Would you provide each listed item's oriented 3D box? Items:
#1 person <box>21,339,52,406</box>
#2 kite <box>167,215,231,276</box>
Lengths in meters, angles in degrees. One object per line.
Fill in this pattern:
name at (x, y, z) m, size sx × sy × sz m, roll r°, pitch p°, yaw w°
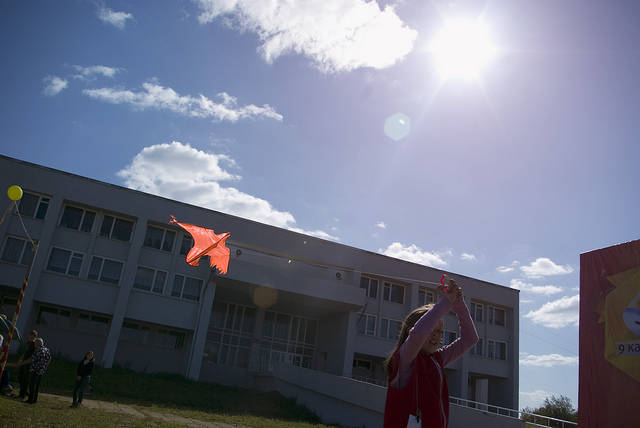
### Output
person at (-10.129, 5.561, 14.493) m, size 0.724 × 2.121 × 1.263 m, roll 16°, pitch -22°, yaw -22°
kite at (-3.481, 1.012, 12.678) m, size 1.320 × 1.677 × 2.161 m, roll 15°, pitch -22°, yaw -19°
